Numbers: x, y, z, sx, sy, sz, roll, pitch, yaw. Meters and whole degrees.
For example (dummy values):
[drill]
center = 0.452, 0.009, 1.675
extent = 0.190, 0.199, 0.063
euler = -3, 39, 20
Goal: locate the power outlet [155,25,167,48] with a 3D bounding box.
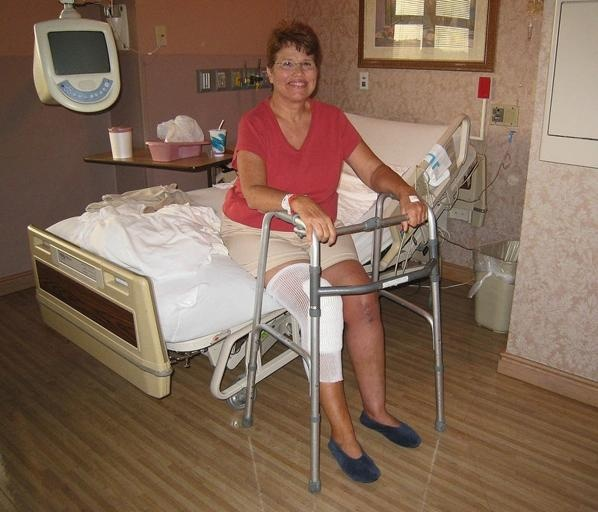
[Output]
[power outlet]
center = -0.930, -1.537, 3.235
extent = 0.028, 0.123, 0.119
euler = 9, 35, 20

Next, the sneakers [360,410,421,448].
[sneakers]
center = 0.394, 0.700, 1.943
extent = 0.226, 0.064, 0.096
euler = 13, 28, 36

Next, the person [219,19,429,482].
[person]
center = 0.110, -0.069, 1.874
extent = 0.688, 1.623, 0.964
euler = -10, 24, -23

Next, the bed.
[bed]
center = 0.050, 0.004, 2.625
extent = 1.252, 1.099, 2.351
euler = 25, 35, 35

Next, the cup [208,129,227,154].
[cup]
center = -0.548, -0.843, 3.413
extent = 0.163, 0.190, 0.164
euler = 1, 14, 0

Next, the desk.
[desk]
center = -1.021, -0.643, 3.321
extent = 0.502, 0.271, 0.393
euler = 12, 26, 25

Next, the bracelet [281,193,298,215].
[bracelet]
center = -0.035, -0.181, 1.576
extent = 0.050, 0.030, 0.068
euler = 21, -10, -25
